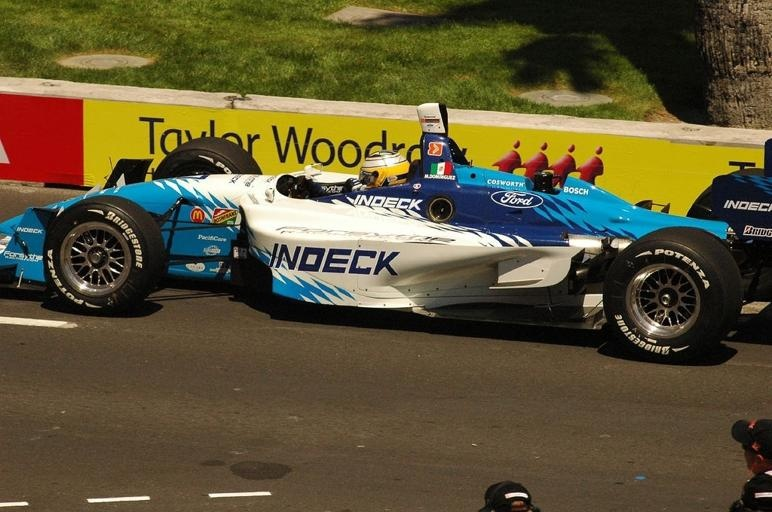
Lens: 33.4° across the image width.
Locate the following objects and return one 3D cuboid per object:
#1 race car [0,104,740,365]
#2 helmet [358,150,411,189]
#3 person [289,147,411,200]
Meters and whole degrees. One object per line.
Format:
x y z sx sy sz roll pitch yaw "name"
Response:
0.403 -0.146 16.042 10.404 1.706 3.326 3 10 11 "race car"
-0.018 -1.098 16.454 0.751 0.326 0.428 -6 16 0 "helmet"
-0.368 -1.020 16.477 1.586 0.327 0.696 -6 7 18 "person"
